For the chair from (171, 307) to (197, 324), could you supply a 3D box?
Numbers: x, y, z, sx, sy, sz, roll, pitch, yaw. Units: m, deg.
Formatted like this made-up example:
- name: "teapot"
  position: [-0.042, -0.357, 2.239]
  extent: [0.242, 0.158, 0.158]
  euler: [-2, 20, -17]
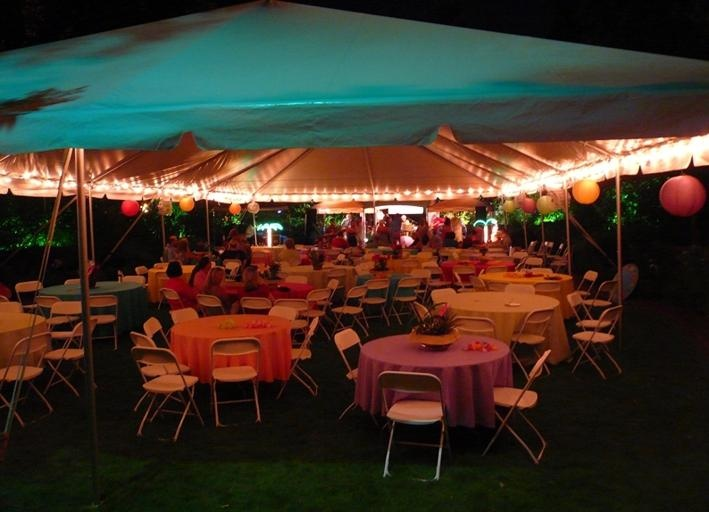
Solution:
- name: "chair"
  position: [-2.253, 0.774, 7.434]
  extent: [0.257, 0.311, 0.247]
  euler: [-3, 5, -37]

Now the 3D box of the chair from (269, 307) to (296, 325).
- name: "chair"
  position: [-0.969, 0.795, 7.645]
  extent: [0.254, 0.313, 0.252]
  euler: [0, 4, 1]

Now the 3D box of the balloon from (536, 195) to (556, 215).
- name: "balloon"
  position: [4.179, -1.120, 12.277]
  extent: [0.419, 0.406, 0.622]
  euler: [2, 12, 17]

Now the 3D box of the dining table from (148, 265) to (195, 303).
- name: "dining table"
  position: [-3.968, 0.501, 11.742]
  extent: [1.231, 0.690, 1.168]
  euler: [0, 2, -8]

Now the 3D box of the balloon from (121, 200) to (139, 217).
- name: "balloon"
  position: [-4.884, -1.054, 12.292]
  extent: [0.326, 0.341, 0.525]
  euler: [-7, 13, -26]

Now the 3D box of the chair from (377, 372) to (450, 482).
- name: "chair"
  position: [0.583, 1.521, 5.444]
  extent: [0.684, 0.916, 0.736]
  euler: [-1, 0, 5]

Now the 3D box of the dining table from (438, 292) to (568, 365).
- name: "dining table"
  position: [1.956, 0.769, 7.695]
  extent: [1.359, 0.557, 1.376]
  euler: [-1, 2, 30]

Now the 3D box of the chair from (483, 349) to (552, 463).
- name: "chair"
  position: [1.581, 1.460, 5.699]
  extent: [0.769, 0.915, 0.568]
  euler: [-2, 2, 26]

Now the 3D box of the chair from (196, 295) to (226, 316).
- name: "chair"
  position: [-2.113, 0.715, 8.322]
  extent: [0.441, 0.359, 0.427]
  euler: [-1, 11, 0]

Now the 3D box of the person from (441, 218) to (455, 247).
- name: "person"
  position: [2.964, -0.818, 17.692]
  extent: [0.403, 0.829, 1.605]
  euler: [1, 11, 10]

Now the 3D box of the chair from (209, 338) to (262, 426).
- name: "chair"
  position: [-1.402, 1.311, 6.576]
  extent: [0.583, 1.005, 0.998]
  euler: [-4, 12, -13]

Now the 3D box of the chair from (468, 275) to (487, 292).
- name: "chair"
  position: [2.303, 0.498, 10.306]
  extent: [0.285, 0.356, 0.211]
  euler: [-9, 11, -22]

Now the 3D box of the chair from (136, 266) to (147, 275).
- name: "chair"
  position: [-4.950, 0.337, 13.091]
  extent: [0.254, 0.294, 0.263]
  euler: [1, -8, -36]

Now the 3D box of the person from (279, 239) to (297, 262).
- name: "person"
  position: [-1.556, -0.154, 13.189]
  extent: [0.474, 0.548, 0.860]
  euler: [-3, 11, -7]

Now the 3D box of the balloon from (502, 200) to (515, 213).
- name: "balloon"
  position: [4.303, -1.396, 15.972]
  extent: [0.442, 0.395, 0.434]
  euler: [4, 12, 26]

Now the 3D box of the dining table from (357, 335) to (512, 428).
- name: "dining table"
  position: [0.731, 1.180, 5.758]
  extent: [1.190, 0.419, 1.246]
  euler: [-1, 1, 40]

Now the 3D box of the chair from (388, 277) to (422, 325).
- name: "chair"
  position: [0.940, 0.769, 10.957]
  extent: [0.713, 1.072, 0.837]
  euler: [-2, 11, -12]

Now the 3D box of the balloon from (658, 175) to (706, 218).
- name: "balloon"
  position: [4.295, -0.746, 7.393]
  extent: [0.575, 0.637, 0.579]
  euler: [-2, 0, 34]
